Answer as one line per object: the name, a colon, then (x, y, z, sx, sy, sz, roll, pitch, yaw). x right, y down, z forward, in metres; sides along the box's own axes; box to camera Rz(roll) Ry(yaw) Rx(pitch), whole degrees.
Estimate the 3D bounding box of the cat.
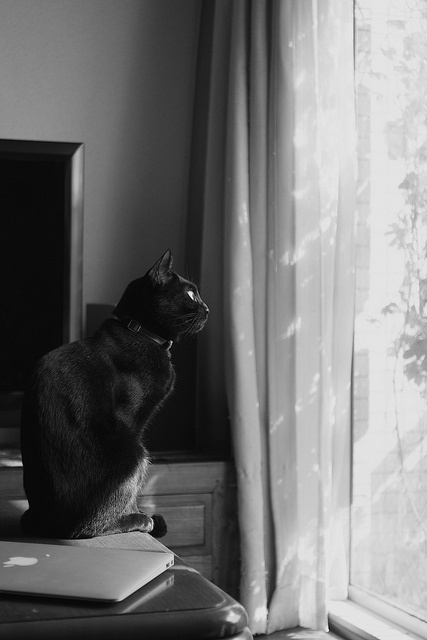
cat: (-0.180, 0.116, 1.446, 0.224, 0.521, 0.441, 2, 2, 27)
